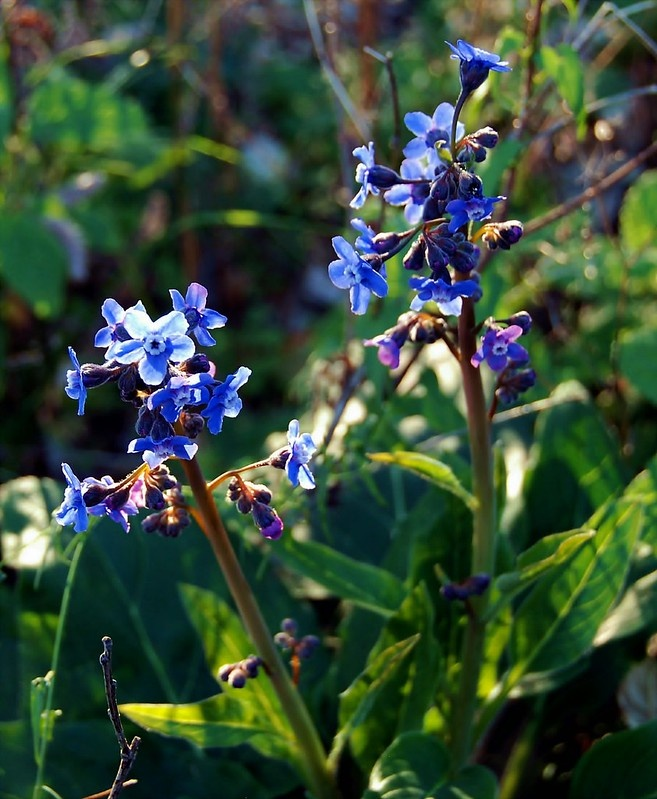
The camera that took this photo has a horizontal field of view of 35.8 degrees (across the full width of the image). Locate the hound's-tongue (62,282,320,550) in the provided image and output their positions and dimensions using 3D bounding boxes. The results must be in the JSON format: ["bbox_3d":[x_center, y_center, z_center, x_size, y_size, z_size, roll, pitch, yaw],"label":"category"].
[{"bbox_3d":[-0.125,0.008,1.007,0.272,0.231,0.216,7,19,-17],"label":"hound's-tongue"}]
